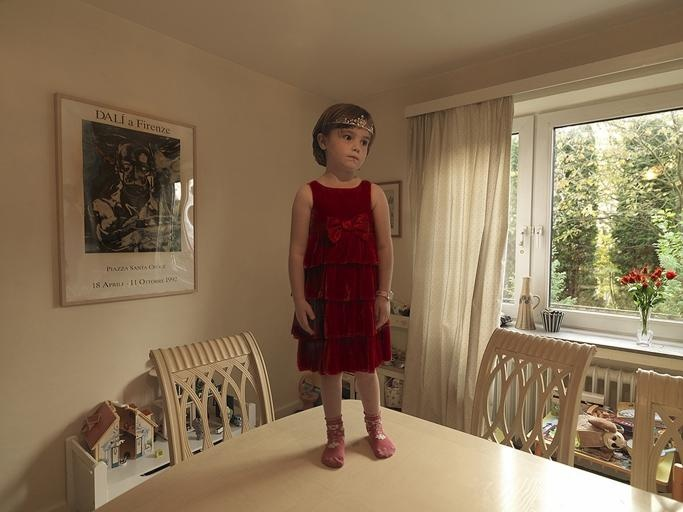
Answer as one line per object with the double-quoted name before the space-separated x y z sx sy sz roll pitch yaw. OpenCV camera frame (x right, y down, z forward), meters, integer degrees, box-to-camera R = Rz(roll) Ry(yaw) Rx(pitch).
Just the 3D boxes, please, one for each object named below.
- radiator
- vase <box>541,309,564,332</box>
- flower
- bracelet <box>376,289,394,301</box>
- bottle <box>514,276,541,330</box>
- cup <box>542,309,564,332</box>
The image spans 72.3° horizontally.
"radiator" 1.780 0.865 3.109 0.469 0.151 0.495 -8 1 -41
"vase" 1.509 0.459 3.344 0.145 0.152 0.148 3 -7 -15
"flower" 2.095 0.255 3.296 0.400 0.640 0.436 2 5 40
"bracelet" 0.183 0.161 1.937 0.061 0.040 0.063 13 2 -20
"bottle" 1.401 0.346 3.495 0.131 0.383 0.233 3 5 44
"cup" 1.501 0.462 3.379 0.144 0.152 0.148 2 -8 0
